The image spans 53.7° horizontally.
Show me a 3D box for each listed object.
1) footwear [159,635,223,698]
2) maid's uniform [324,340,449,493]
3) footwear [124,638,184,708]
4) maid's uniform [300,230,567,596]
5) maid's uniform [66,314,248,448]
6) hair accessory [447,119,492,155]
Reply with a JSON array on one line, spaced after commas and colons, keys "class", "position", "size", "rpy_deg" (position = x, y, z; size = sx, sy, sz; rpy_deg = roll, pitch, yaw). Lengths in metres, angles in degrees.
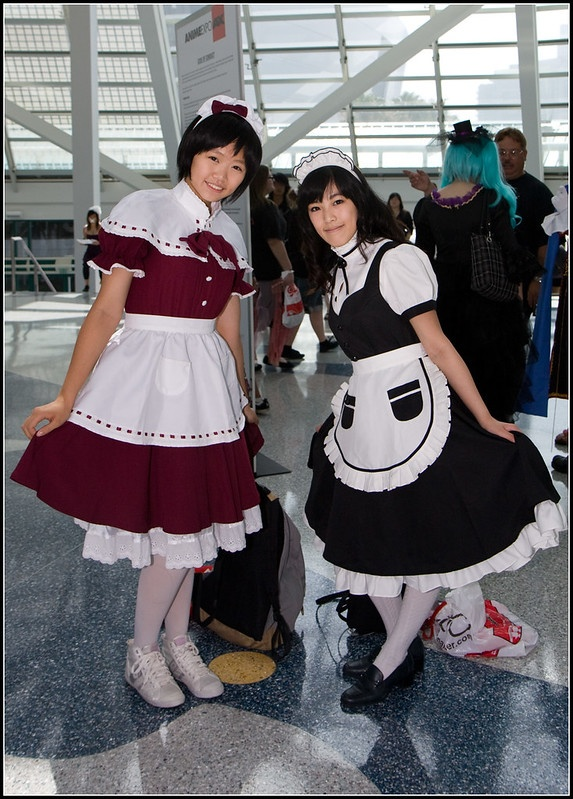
[{"class": "footwear", "position": [-0.235, 0.637, 1.395], "size": [0.069, 0.097, 0.201], "rpy_deg": [-16, 9, -31]}, {"class": "maid's uniform", "position": [0.223, 0.044, 1.216], "size": [0.275, 0.264, 0.156], "rpy_deg": [-19, -29, 40]}, {"class": "footwear", "position": [-0.319, 0.632, 1.330], "size": [0.070, 0.090, 0.189], "rpy_deg": [-1, 3, -34]}, {"class": "maid's uniform", "position": [0.294, 0.051, 1.256], "size": [0.593, 0.802, 0.245], "rpy_deg": [3, 7, 23]}, {"class": "maid's uniform", "position": [-0.271, -0.037, 1.188], "size": [0.353, 0.283, 0.128], "rpy_deg": [-2, 7, -23]}, {"class": "hair accessory", "position": [0.706, -0.996, 2.177], "size": [0.129, 0.057, 0.135], "rpy_deg": [12, 44, 31]}]
